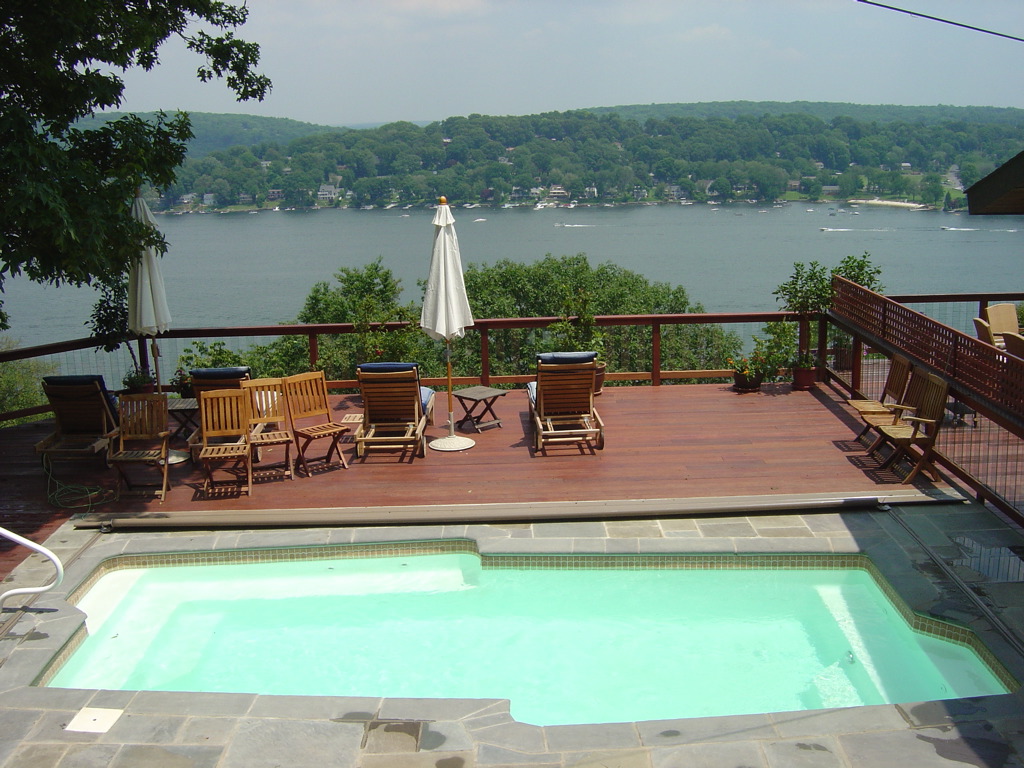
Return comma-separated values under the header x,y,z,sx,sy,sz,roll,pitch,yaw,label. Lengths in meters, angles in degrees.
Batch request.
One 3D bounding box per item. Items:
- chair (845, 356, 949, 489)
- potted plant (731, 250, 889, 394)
x,y,z,sx,sy,sz,roll,pitch,yaw,label
4.460,0.480,9.593,0.618,0.894,1.483,-2,10,8,chair
4.687,-1.132,13.130,1.596,1.758,3.255,5,17,27,potted plant
